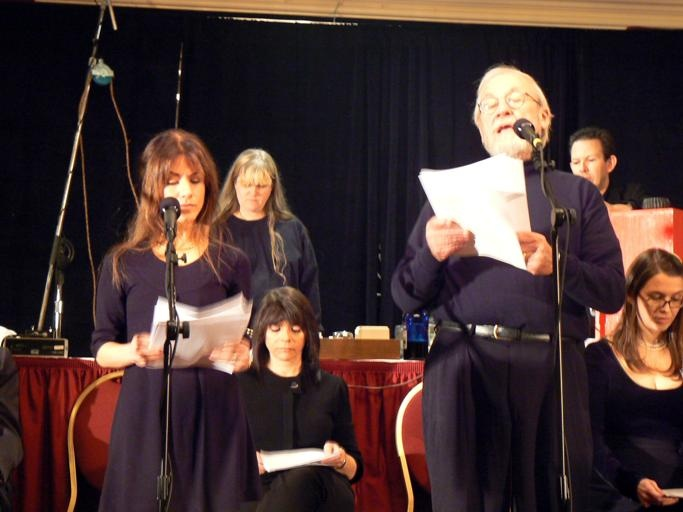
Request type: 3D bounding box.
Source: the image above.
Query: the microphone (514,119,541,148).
[{"bbox_3d":[0.705,-0.458,2.999,0.094,0.122,0.135,0,1,-3],"label":"microphone"}]

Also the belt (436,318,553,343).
[{"bbox_3d":[0.570,0.293,3.060,0.458,0.072,0.102,0,1,28],"label":"belt"}]

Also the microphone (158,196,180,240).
[{"bbox_3d":[-0.604,-0.127,2.791,0.044,0.054,0.169,-1,39,-2],"label":"microphone"}]
